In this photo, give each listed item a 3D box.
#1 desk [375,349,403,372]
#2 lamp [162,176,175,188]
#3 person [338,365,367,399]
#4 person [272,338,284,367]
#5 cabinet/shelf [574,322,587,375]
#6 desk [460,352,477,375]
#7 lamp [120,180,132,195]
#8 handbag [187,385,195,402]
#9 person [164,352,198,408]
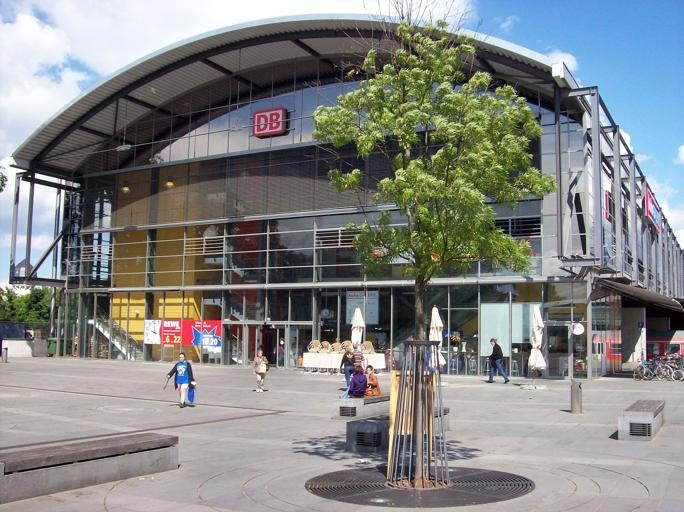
[{"bbox_3d":[2.071,4.759,30.983,1.291,1.152,7.831,0,-6,4],"label":"desk"},{"bbox_3d":[-10.455,-4.483,42.231,0.670,0.667,0.688,3,7,23],"label":"lamp"},{"bbox_3d":[0.353,3.366,18.483,0.568,0.947,0.745,2,7,-21],"label":"person"},{"bbox_3d":[-3.464,5.222,37.802,0.241,1.576,0.931,5,-7,-41],"label":"person"},{"bbox_3d":[10.339,4.067,30.151,0.455,2.275,0.988,-2,-6,18],"label":"cabinet/shelf"},{"bbox_3d":[5.994,5.075,32.987,1.089,1.056,0.860,-2,-10,14],"label":"desk"},{"bbox_3d":[-13.712,-4.333,43.911,0.844,0.883,0.795,1,0,-11],"label":"lamp"},{"bbox_3d":[-4.490,4.100,20.651,0.190,0.546,0.380,5,4,-18],"label":"handbag"},{"bbox_3d":[-4.828,3.667,20.815,0.798,1.535,1.742,1,-6,-13],"label":"person"}]
